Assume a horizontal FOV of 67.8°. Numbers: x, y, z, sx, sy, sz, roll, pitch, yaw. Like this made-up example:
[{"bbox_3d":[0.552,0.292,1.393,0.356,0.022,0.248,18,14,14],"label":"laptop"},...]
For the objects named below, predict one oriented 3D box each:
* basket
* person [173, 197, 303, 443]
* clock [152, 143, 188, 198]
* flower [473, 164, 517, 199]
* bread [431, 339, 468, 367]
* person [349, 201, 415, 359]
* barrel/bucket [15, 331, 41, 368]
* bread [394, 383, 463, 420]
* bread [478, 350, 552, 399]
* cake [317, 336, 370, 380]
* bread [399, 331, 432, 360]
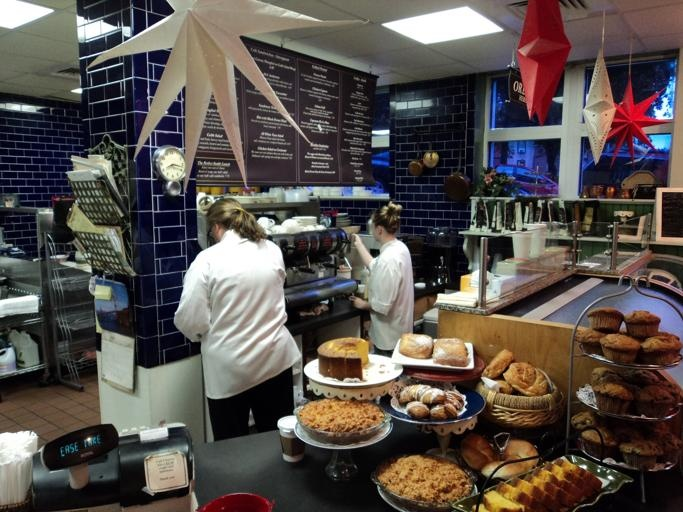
[{"bbox_3d":[0.726,0.582,2.052,0.343,0.183,0.196,-1,7,9],"label":"basket"},{"bbox_3d":[-0.593,0.360,2.909,0.640,1.360,0.325,-2,7,2],"label":"person"},{"bbox_3d":[-1.010,-0.499,3.000,0.057,0.296,0.191,2,8,33],"label":"clock"},{"bbox_3d":[1.648,-0.785,5.426,0.420,0.306,0.290,1,8,24],"label":"flower"},{"bbox_3d":[0.459,0.405,2.144,0.150,0.079,0.163,-1,7,12],"label":"bread"},{"bbox_3d":[0.356,0.189,3.745,0.333,1.165,0.304,-2,7,4],"label":"person"},{"bbox_3d":[-3.000,0.881,4.846,0.237,0.343,0.247,-2,7,0],"label":"barrel/bucket"},{"bbox_3d":[0.325,0.549,1.909,0.153,0.053,0.126,2,8,28],"label":"bread"},{"bbox_3d":[0.709,0.502,2.088,0.186,0.068,0.156,-15,20,-38],"label":"bread"},{"bbox_3d":[0.009,0.416,2.070,0.204,0.120,0.211,-2,7,2],"label":"cake"},{"bbox_3d":[0.316,0.379,2.163,0.099,0.053,0.107,3,12,16],"label":"bread"}]
